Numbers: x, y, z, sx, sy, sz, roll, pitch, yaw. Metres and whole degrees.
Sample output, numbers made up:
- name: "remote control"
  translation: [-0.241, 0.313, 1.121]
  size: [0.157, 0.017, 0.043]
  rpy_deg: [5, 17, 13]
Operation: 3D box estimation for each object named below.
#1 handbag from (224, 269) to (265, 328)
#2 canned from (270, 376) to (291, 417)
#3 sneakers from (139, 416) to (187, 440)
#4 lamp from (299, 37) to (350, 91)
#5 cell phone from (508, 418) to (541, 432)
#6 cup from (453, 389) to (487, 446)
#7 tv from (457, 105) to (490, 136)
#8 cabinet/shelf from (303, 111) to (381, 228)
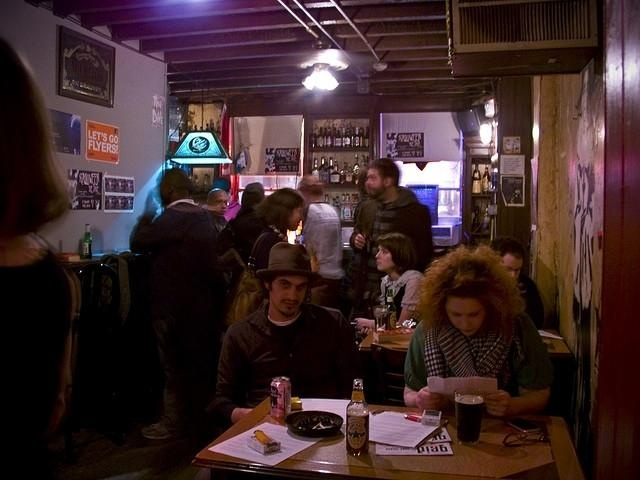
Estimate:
- name: "handbag"
  translation: [-0.516, 0.347, 3.526]
  size: [0.228, 0.491, 0.186]
  rpy_deg: [-20, 58, -37]
- name: "canned"
  translation: [-0.174, 0.691, 2.309]
  size: [0.091, 0.168, 0.097]
  rpy_deg: [-1, 9, -18]
- name: "sneakers"
  translation: [-1.271, 1.527, 4.221]
  size: [0.276, 0.139, 0.156]
  rpy_deg: [4, 3, -5]
- name: "lamp"
  translation: [0.077, -2.068, 6.204]
  size: [0.483, 0.485, 0.480]
  rpy_deg: [1, -1, -38]
- name: "cell phone"
  translation: [0.846, 0.769, 2.152]
  size: [0.066, 0.014, 0.122]
  rpy_deg: [-5, 1, -14]
- name: "cup"
  translation: [0.586, 0.696, 2.053]
  size: [0.122, 0.130, 0.188]
  rpy_deg: [-4, 49, 29]
- name: "tv"
  translation: [2.457, -1.925, 8.333]
  size: [0.306, 0.584, 0.623]
  rpy_deg: [-22, 19, -13]
- name: "cabinet/shelf"
  translation: [0.280, -1.552, 8.918]
  size: [0.873, 1.609, 0.364]
  rpy_deg: [7, 40, -2]
